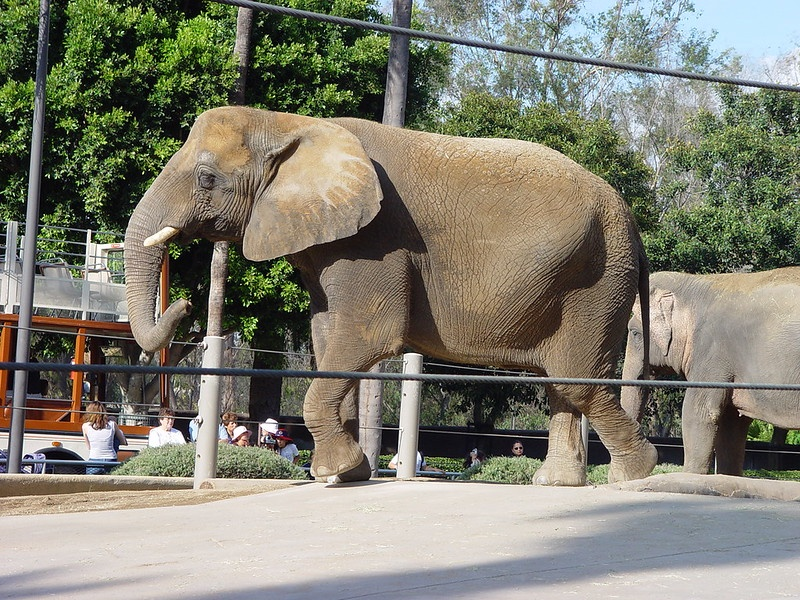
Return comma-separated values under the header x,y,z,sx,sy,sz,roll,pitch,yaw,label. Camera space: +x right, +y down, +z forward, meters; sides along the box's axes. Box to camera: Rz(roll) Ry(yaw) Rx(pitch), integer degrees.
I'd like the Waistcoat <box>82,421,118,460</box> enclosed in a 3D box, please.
x,y,z,sx,sy,sz,roll,pitch,yaw,label
-3.334,1.575,11.156,0.347,0.414,0.406,2,-5,-19,Waistcoat

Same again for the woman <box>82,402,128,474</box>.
x,y,z,sx,sy,sz,roll,pitch,yaw,label
-3.344,1.755,11.396,0.472,1.199,0.622,-2,-6,-12,woman

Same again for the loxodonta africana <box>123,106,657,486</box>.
x,y,z,sx,sy,sz,roll,pitch,yaw,label
-0.067,0.030,7.843,3.996,3.048,1.909,3,5,-4,loxodonta africana
